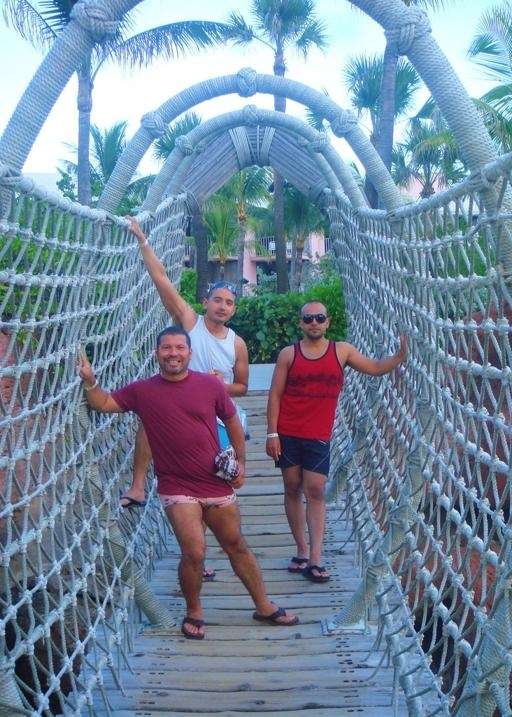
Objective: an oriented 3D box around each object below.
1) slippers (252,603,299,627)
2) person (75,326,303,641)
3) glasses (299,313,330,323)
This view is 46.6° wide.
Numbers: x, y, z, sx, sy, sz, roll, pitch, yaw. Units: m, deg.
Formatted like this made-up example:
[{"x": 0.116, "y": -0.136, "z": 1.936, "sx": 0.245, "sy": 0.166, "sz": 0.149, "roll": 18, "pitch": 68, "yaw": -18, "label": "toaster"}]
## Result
[{"x": 0.095, "y": 1.161, "z": 2.712, "sx": 0.196, "sy": 0.087, "sz": 0.081, "roll": 0, "pitch": 0, "yaw": 2, "label": "slippers"}, {"x": -0.276, "y": 0.585, "z": 2.537, "sx": 0.912, "sy": 1.240, "sz": 0.252, "roll": -2, "pitch": 3, "yaw": -26, "label": "person"}, {"x": 0.313, "y": -0.215, "z": 3.190, "sx": 0.135, "sy": 0.052, "sz": 0.066, "roll": -1, "pitch": 2, "yaw": 2, "label": "glasses"}]
